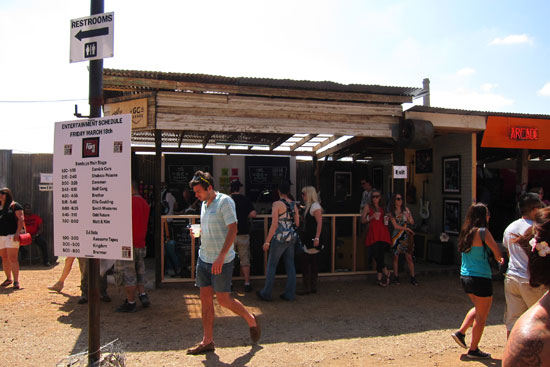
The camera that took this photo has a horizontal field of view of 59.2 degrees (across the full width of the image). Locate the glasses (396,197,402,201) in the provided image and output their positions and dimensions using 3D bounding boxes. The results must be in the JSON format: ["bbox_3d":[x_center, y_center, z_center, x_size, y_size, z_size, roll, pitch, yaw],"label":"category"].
[{"bbox_3d":[3.078,0.386,12.011,0.098,0.039,0.111,3,-14,-21],"label":"glasses"}]

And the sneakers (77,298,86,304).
[{"bbox_3d":[-4.111,2.482,10.264,0.153,0.121,0.153,3,6,28],"label":"sneakers"}]

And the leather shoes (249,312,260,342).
[{"bbox_3d":[-0.348,2.484,8.320,0.183,0.469,0.169,-2,-4,-39],"label":"leather shoes"}]

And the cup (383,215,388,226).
[{"bbox_3d":[2.705,0.902,11.693,0.071,0.218,0.153,5,2,-6],"label":"cup"}]

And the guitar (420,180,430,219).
[{"bbox_3d":[4.663,0.489,15.053,0.118,1.188,0.346,-3,3,-33],"label":"guitar"}]

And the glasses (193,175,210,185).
[{"bbox_3d":[-1.204,-0.071,7.955,0.339,0.234,0.182,0,5,-8],"label":"glasses"}]

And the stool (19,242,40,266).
[{"bbox_3d":[-7.290,2.111,14.418,0.605,0.754,0.792,2,-5,-38],"label":"stool"}]

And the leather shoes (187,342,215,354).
[{"bbox_3d":[-1.212,2.717,8.034,0.478,0.191,0.161,2,-7,-14],"label":"leather shoes"}]

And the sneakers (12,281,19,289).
[{"bbox_3d":[-6.089,2.386,11.363,0.157,0.159,0.295,-3,6,-28],"label":"sneakers"}]

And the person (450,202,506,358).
[{"bbox_3d":[3.348,1.584,8.003,0.702,2.474,0.619,2,6,22],"label":"person"}]

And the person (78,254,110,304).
[{"bbox_3d":[-3.871,2.049,10.297,0.614,0.970,1.318,-2,6,-23],"label":"person"}]

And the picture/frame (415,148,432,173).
[{"bbox_3d":[4.687,-0.689,15.252,0.753,0.763,0.038,-2,2,-27],"label":"picture/frame"}]

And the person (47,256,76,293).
[{"bbox_3d":[-4.921,2.080,11.112,0.421,0.855,0.854,-4,7,-39],"label":"person"}]

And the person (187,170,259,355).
[{"bbox_3d":[-0.916,1.302,7.950,1.061,2.964,0.576,0,5,-4],"label":"person"}]

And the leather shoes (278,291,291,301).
[{"bbox_3d":[0.223,2.460,10.548,0.118,0.125,0.282,-1,8,-37],"label":"leather shoes"}]

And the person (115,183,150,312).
[{"bbox_3d":[-2.910,1.268,9.857,0.656,2.596,0.874,-1,6,-16],"label":"person"}]

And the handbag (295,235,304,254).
[{"bbox_3d":[0.551,1.331,10.681,0.162,0.421,0.411,1,5,7],"label":"handbag"}]

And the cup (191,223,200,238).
[{"bbox_3d":[-1.397,0.833,8.535,0.221,0.237,0.229,-2,-8,0],"label":"cup"}]

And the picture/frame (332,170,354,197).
[{"bbox_3d":[2.363,0.008,16.981,0.932,1.188,0.123,0,-2,-20],"label":"picture/frame"}]
